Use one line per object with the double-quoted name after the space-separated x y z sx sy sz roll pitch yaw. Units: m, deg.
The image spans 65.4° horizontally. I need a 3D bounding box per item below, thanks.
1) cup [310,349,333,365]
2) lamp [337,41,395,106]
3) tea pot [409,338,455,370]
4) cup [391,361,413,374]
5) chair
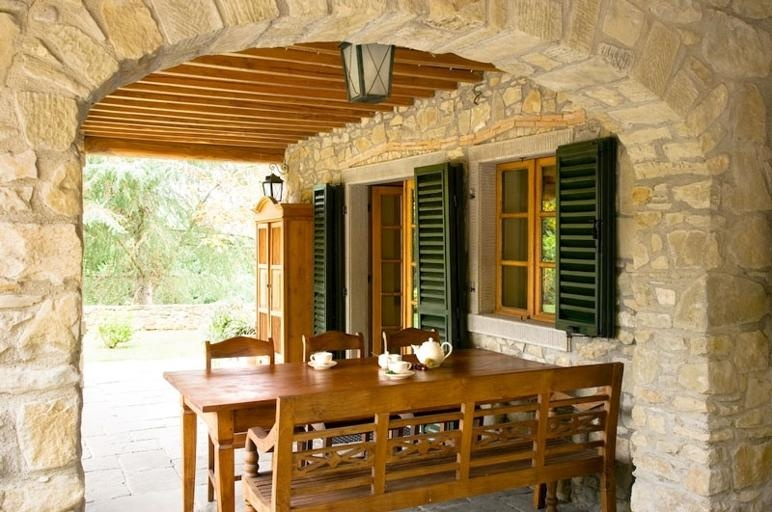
-0.476 0.728 4.307 0.178 0.080 0.142 -5 -1 26 "cup"
-0.133 -1.266 4.109 0.363 0.410 0.271 -1 0 1 "lamp"
0.341 0.698 4.286 0.277 0.180 0.179 2 -3 -1 "tea pot"
0.109 0.736 3.976 0.109 0.047 0.085 3 -6 -31 "cup"
-0.365 0.996 3.681 1.231 0.675 0.424 -2 5 -21 "chair"
